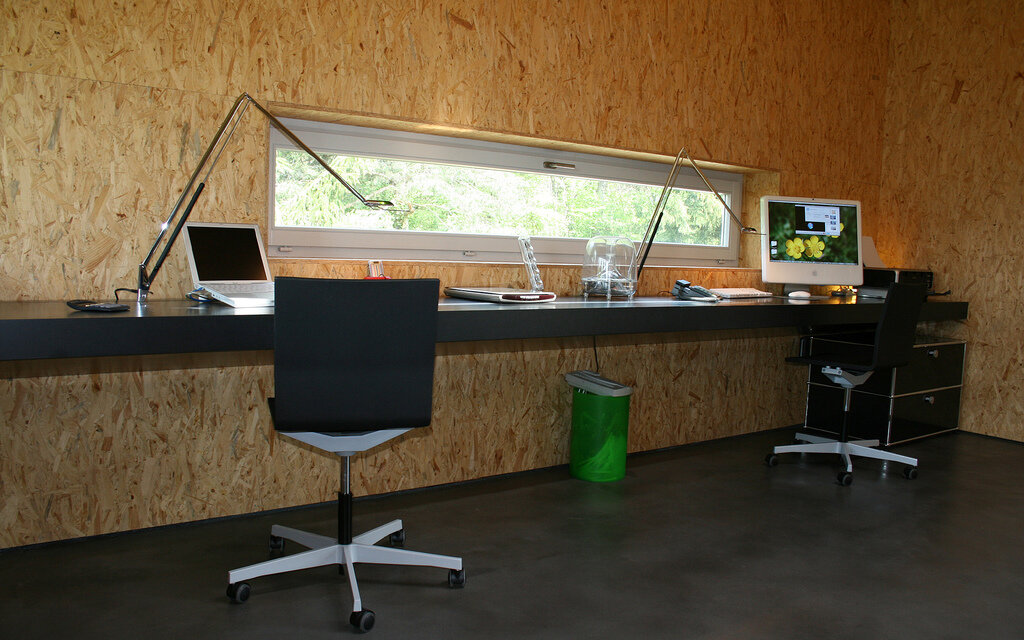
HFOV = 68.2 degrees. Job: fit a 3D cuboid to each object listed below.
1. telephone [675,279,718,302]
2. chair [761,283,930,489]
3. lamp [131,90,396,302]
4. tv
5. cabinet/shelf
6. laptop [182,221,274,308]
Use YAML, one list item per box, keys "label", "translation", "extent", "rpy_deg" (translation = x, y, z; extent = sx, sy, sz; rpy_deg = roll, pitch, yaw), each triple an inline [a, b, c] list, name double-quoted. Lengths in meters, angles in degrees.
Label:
- label: "telephone"
  translation: [1.084, -0.171, 4.561]
  extent: [0.103, 0.114, 0.325]
  rpy_deg: [-5, 7, -36]
- label: "chair"
  translation: [2.187, 0.335, 5.128]
  extent: [1.198, 1.418, 1.186]
  rpy_deg: [4, 5, 40]
- label: "lamp"
  translation: [-1.379, -0.598, 3.620]
  extent: [0.872, 0.980, 0.531]
  rpy_deg: [-3, 7, -26]
- label: "tv"
  translation: [2.033, -0.505, 5.136]
  extent: [0.773, 0.618, 0.237]
  rpy_deg: [0, -3, -18]
- label: "cabinet/shelf"
  translation: [2.619, 0.217, 5.299]
  extent: [1.212, 0.721, 0.712]
  rpy_deg: [-1, 3, -36]
- label: "laptop"
  translation: [-1.296, -0.264, 3.545]
  extent: [0.444, 0.322, 0.476]
  rpy_deg: [-4, 16, -42]
